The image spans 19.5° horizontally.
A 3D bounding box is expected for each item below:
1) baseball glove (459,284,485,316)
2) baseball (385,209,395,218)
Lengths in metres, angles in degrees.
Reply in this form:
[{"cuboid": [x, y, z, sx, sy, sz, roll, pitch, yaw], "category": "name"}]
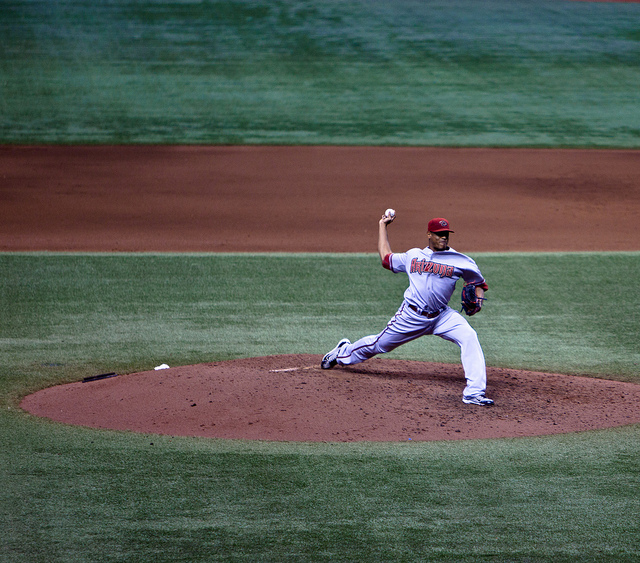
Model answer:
[{"cuboid": [3.163, 0.344, 38.615, 0.507, 0.614, 0.304, -5, 2, 13], "category": "baseball glove"}, {"cuboid": [1.427, -1.466, 38.475, 0.157, 0.173, 0.285, 0, 16, -3], "category": "baseball"}]
